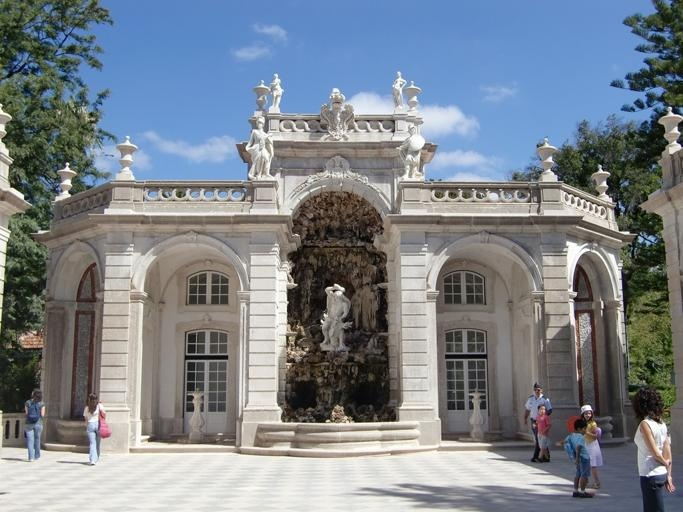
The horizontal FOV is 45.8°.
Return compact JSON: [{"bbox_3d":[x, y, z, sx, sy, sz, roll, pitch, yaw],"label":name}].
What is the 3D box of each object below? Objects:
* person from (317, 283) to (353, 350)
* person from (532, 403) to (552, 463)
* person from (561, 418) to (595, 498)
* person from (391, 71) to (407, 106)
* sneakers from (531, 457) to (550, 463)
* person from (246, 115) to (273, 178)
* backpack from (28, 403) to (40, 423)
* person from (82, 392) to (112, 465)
[{"bbox_3d":[-0.218,2.153,27.732,0.973,2.286,0.667,-3,-14,7],"label":"person"},{"bbox_3d":[5.570,4.892,22.350,0.417,1.531,0.765,-4,-14,13],"label":"person"},{"bbox_3d":[5.236,4.463,17.913,0.513,1.696,1.152,-5,-14,16],"label":"person"},{"bbox_3d":[2.026,-5.878,28.721,0.345,1.203,0.532,-1,-14,3],"label":"person"},{"bbox_3d":[5.457,5.592,22.252,0.470,0.202,0.163,8,-1,19],"label":"sneakers"},{"bbox_3d":[-2.737,-3.677,27.174,0.864,2.824,1.406,0,-14,-4],"label":"person"},{"bbox_3d":[-8.547,4.374,22.434,0.472,0.657,0.335,2,-12,-22],"label":"backpack"},{"bbox_3d":[-6.865,4.856,22.634,0.653,1.950,1.161,4,-15,-19],"label":"person"}]
